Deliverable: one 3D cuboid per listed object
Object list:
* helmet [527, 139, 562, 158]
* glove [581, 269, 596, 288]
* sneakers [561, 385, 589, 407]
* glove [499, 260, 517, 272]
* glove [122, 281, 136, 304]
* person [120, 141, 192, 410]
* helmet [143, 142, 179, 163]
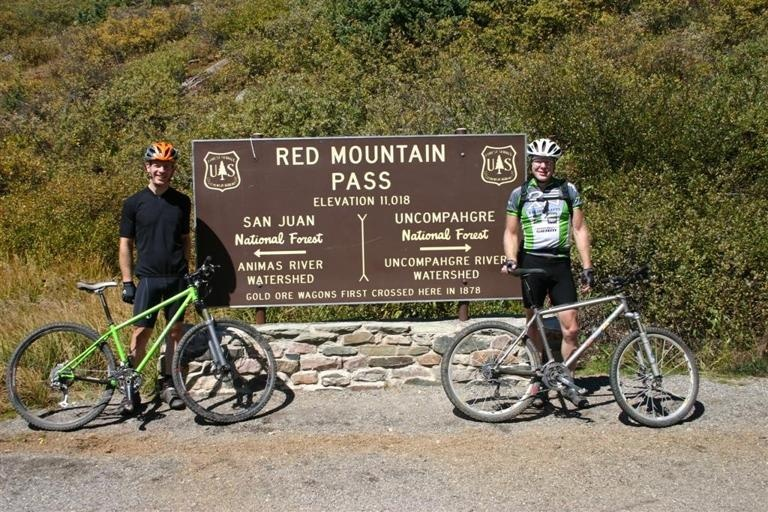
[{"bbox_3d":[2.479,-1.654,13.260,0.468,0.309,0.414,-4,10,2],"label":"helmet"},{"bbox_3d":[3.118,0.327,13.083,0.193,0.288,0.243,-2,10,13],"label":"glove"},{"bbox_3d":[2.995,2.162,13.217,0.297,0.461,0.126,-43,17,27],"label":"sneakers"},{"bbox_3d":[1.946,0.149,13.124,0.190,0.095,0.144,-2,-9,-21],"label":"glove"},{"bbox_3d":[-4.026,0.572,13.396,0.224,0.326,0.109,-5,6,-31],"label":"glove"},{"bbox_3d":[-3.540,0.346,13.429,1.184,4.174,0.843,-6,10,-13],"label":"person"},{"bbox_3d":[-3.492,-1.614,13.337,0.450,0.298,0.287,-7,10,-16],"label":"helmet"}]
